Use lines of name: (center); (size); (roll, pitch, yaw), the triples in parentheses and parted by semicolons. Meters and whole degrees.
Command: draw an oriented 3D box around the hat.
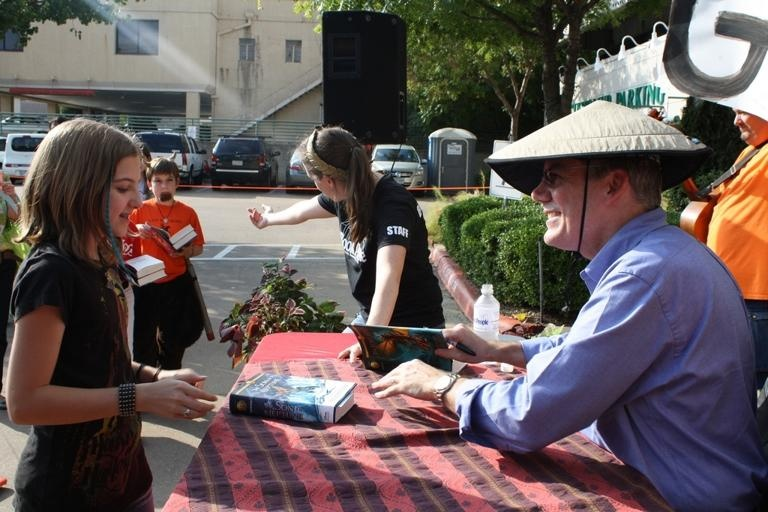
hat: (0.867, -0.447, 2.596); (0.628, 0.248, 0.506); (-2, -10, 17)

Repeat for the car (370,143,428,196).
car: (0.548, -3.042, 20.784); (1.677, 1.518, 3.685); (0, 2, -3)

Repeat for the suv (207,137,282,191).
suv: (-4.923, -3.473, 22.783); (1.398, 1.182, 2.687); (0, 11, 0)

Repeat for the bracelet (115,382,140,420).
bracelet: (-1.008, 0.565, 2.480); (0.071, 0.138, 0.076); (1, 8, -18)

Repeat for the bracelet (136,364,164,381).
bracelet: (-1.056, 0.516, 2.820); (0.064, 0.041, 0.111); (2, -2, 1)

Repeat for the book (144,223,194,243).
book: (-1.789, -0.197, 5.251); (0.255, 0.103, 0.209); (5, 10, 6)
